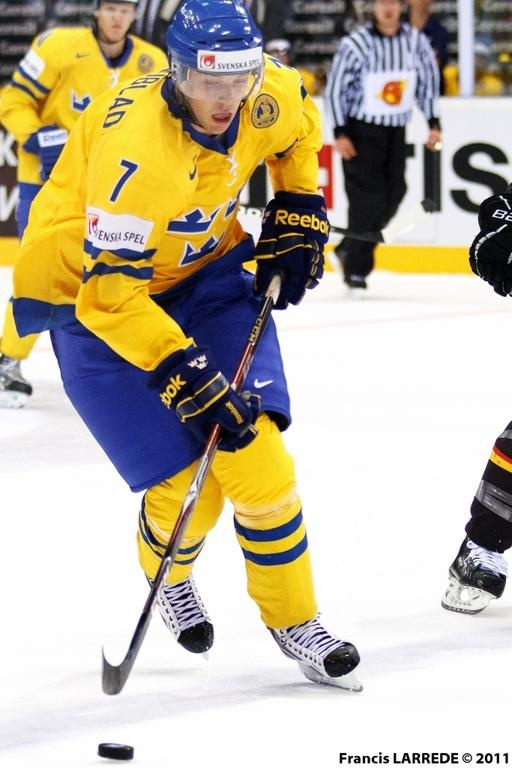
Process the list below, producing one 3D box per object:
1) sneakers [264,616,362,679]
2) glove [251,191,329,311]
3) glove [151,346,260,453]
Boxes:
[{"bbox_3d":[0.098,0.451,1.406,0.062,0.072,0.168,-33,15,-24],"label":"sneakers"},{"bbox_3d":[0.090,-0.274,1.714,0.167,0.090,0.242,-4,56,29],"label":"glove"},{"bbox_3d":[-0.074,0.019,1.302,0.127,0.196,0.083,-40,5,11],"label":"glove"}]
